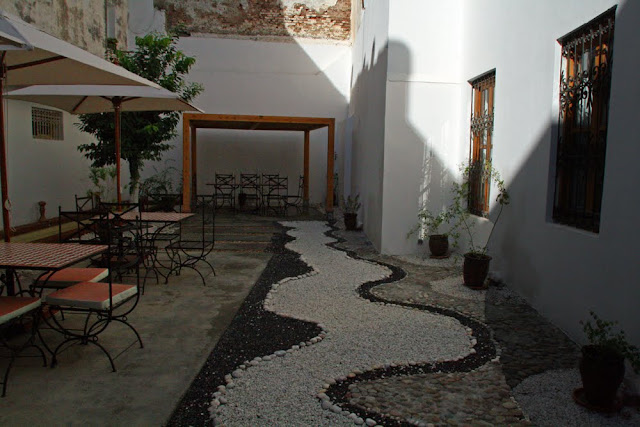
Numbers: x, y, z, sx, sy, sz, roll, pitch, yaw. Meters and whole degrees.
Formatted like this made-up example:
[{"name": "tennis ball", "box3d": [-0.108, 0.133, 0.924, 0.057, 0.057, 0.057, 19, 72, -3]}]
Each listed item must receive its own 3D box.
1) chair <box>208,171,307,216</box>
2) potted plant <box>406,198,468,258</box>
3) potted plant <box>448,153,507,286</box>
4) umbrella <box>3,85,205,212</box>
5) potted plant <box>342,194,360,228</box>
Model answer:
[{"name": "chair", "box3d": [-1.973, -0.701, 14.533, 2.943, 1.081, 2.119, 0, 8, -9]}, {"name": "potted plant", "box3d": [2.184, 0.342, 8.434, 0.984, 0.941, 0.884, -3, -4, 19]}, {"name": "potted plant", "box3d": [2.488, 0.056, 7.198, 0.810, 1.849, 1.937, 3, 9, 16]}, {"name": "umbrella", "box3d": [-3.225, -0.741, 6.939, 2.600, 1.640, 1.982, 1, 3, 39]}, {"name": "potted plant", "box3d": [0.805, -0.062, 11.236, 0.423, 0.832, 0.853, 2, 8, 4]}]
